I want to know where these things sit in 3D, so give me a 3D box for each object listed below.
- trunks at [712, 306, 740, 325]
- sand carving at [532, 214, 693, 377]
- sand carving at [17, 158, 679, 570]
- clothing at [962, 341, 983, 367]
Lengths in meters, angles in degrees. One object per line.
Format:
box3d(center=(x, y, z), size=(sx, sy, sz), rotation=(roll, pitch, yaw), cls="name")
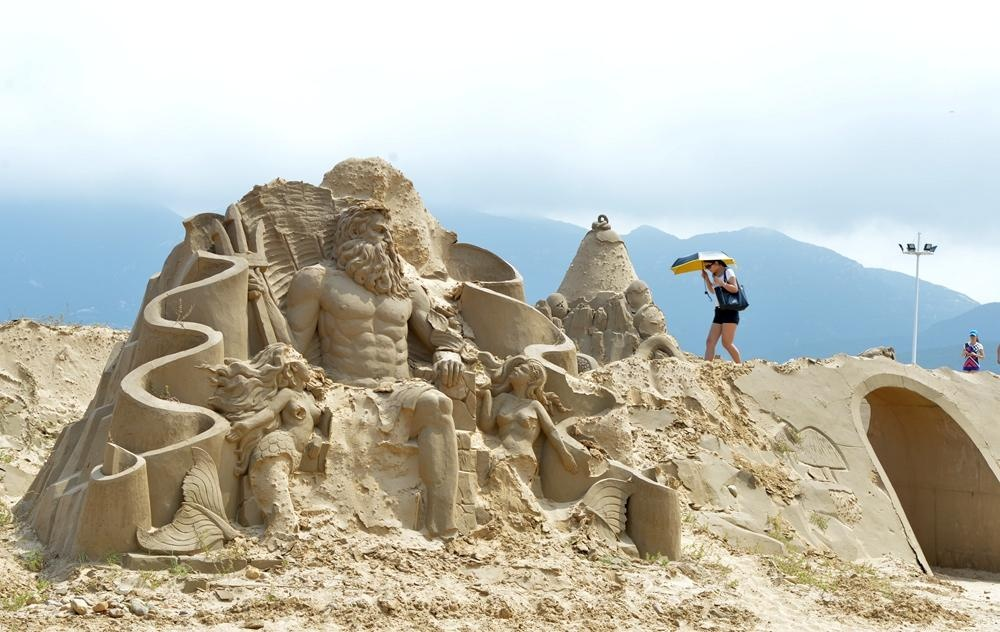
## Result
box3d(center=(3.096, 0.009, 18.133), size=(0.461, 0.159, 0.318), rotation=(6, 3, 33), cls="trunks")
box3d(center=(2.030, -0.603, 21.764), size=(1.536, 1.921, 2.119), rotation=(-20, 12, 10), cls="sand carving")
box3d(center=(-1.776, 0.540, 14.590), size=(6.102, 4.058, 2.800), rotation=(3, 2, -16), cls="sand carving")
box3d(center=(7.703, 0.664, 21.487), size=(0.296, 0.376, 0.652), rotation=(5, 3, 20), cls="clothing")
